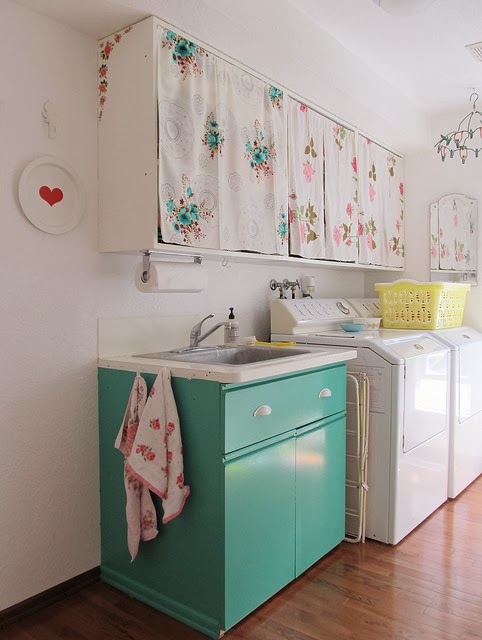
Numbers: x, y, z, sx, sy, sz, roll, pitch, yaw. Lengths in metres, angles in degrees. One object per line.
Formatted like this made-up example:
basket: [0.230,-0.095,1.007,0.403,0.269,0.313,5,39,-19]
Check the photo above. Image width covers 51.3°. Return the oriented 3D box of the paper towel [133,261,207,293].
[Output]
paper towel: [-0.247,-0.152,1.806,0.107,0.119,0.241,-16,-5,38]

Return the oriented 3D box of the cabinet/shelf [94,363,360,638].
cabinet/shelf: [0.000,0.460,1.991,0.660,1.025,0.970,0,2,33]

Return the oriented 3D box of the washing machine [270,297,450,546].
washing machine: [0.678,0.431,2.531,0.547,1.057,0.728,0,2,36]

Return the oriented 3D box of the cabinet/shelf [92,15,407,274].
cabinet/shelf: [0.224,-0.671,2.446,0.291,0.795,1.850,1,3,43]

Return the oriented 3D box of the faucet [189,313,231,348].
faucet: [-0.128,0.043,2.171,0.171,0.137,0.411,0,0,2]

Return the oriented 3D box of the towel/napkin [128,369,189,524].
towel/napkin: [-0.250,0.378,1.520,0.179,0.447,0.085,0,0,27]

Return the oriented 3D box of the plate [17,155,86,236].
plate: [-0.637,-0.420,1.696,0.028,0.251,0.248,0,0,31]
